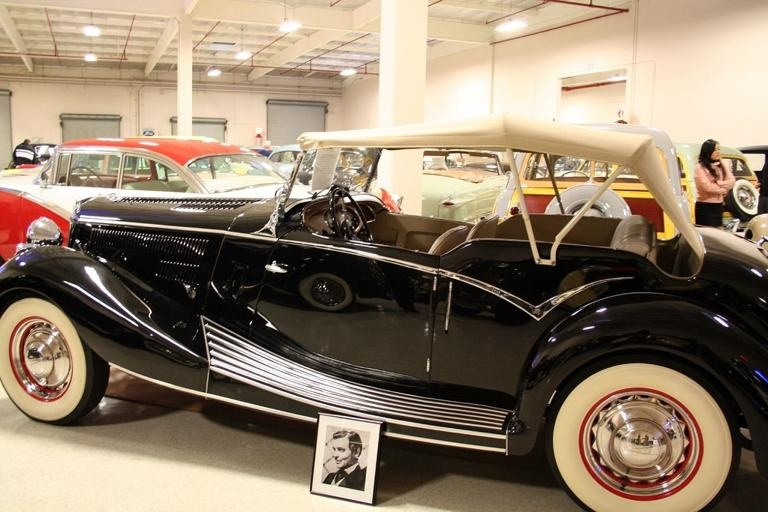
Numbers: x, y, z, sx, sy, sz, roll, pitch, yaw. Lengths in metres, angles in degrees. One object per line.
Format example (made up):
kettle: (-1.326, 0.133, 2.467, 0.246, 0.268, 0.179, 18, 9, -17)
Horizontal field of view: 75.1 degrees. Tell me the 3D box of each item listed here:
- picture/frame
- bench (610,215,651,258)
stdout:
picture/frame: (-0.194, 1.083, 2.639, 0.490, 0.520, 0.046, 5, -2, 16)
bench: (1.524, -0.098, 3.086, 0.279, 0.163, 0.732, 13, 2, 29)
